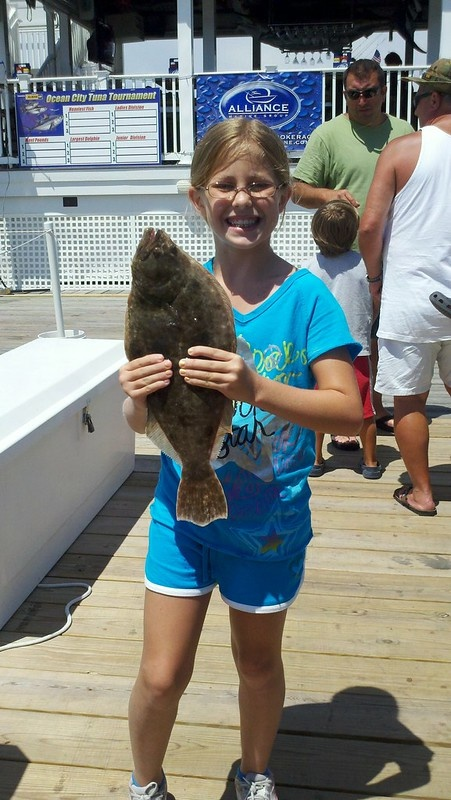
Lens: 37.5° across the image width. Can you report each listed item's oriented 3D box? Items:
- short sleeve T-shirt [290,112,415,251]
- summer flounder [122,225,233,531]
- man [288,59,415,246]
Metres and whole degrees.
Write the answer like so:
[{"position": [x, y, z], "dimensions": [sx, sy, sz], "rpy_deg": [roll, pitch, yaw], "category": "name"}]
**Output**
[{"position": [0.926, -1.461, 4.407], "dimensions": [0.932, 0.846, 0.330], "rpy_deg": [-4, 23, -3], "category": "short sleeve T-shirt"}, {"position": [-0.093, -0.039, 1.336], "dimensions": [0.224, 0.591, 0.118], "rpy_deg": [0, 13, 0], "category": "summer flounder"}, {"position": [0.920, -1.437, 4.370], "dimensions": [0.952, 1.425, 0.637], "rpy_deg": [-5, 17, -9], "category": "man"}]
